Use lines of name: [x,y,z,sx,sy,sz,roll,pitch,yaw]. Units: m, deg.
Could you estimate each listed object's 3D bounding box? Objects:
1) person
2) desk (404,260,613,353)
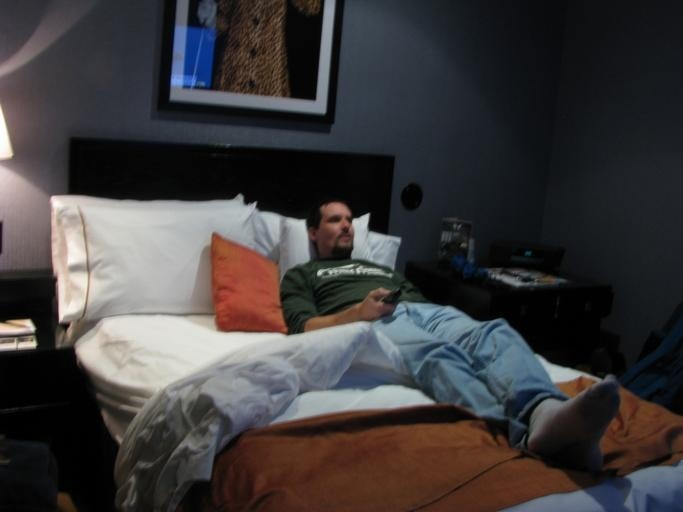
person: [0.318,0.181,2.062,0.539,0.592,1.428,4,9,-28]
desk: [0.995,0.272,3.134,0.689,0.469,0.709,-3,8,-23]
